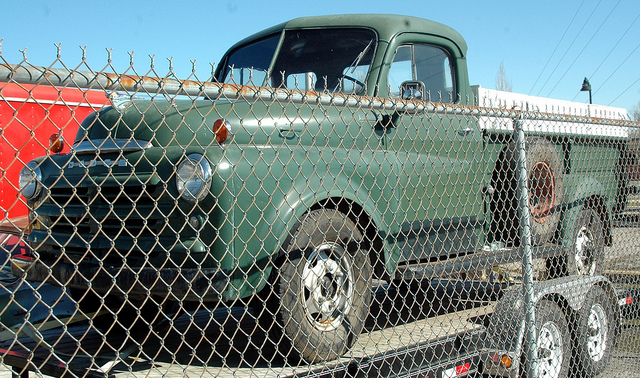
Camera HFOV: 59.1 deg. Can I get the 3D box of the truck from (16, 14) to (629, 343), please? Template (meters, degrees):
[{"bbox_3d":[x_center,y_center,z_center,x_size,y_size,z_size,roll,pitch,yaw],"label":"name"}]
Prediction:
[{"bbox_3d":[0.360,0.068,6.436,6.406,2.937,3.387,6,-9,-42],"label":"truck"}]
